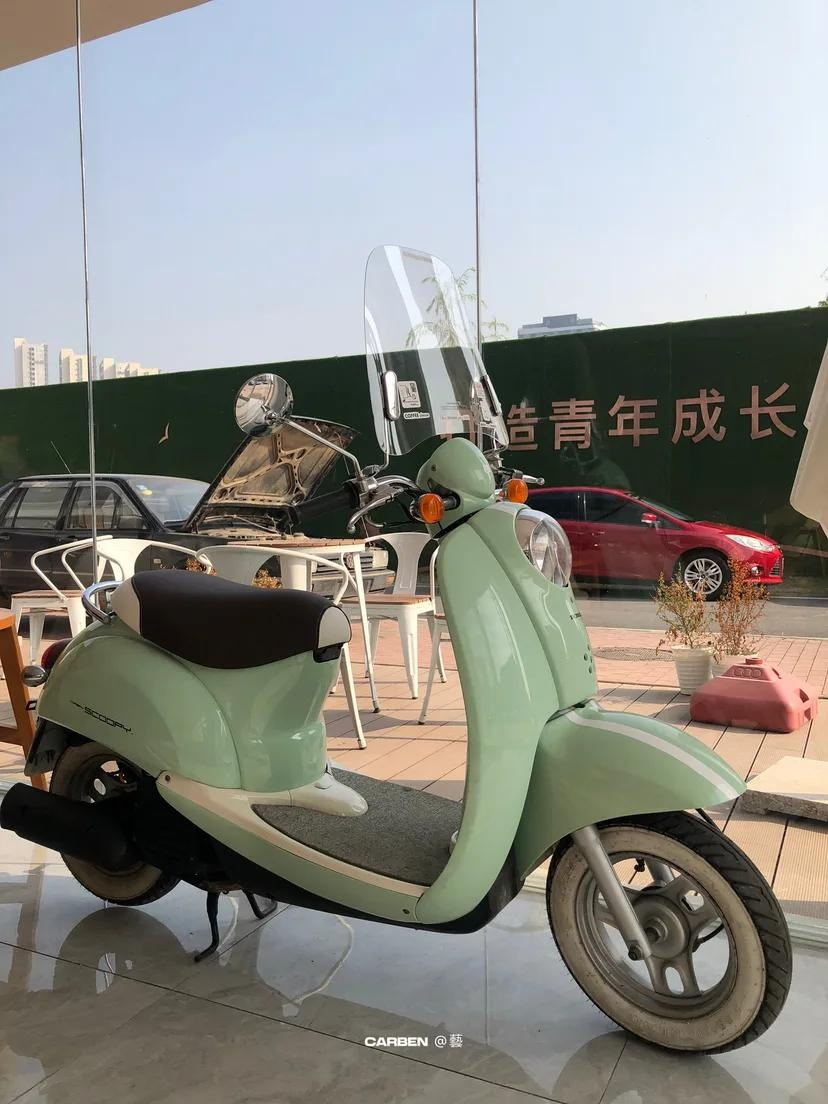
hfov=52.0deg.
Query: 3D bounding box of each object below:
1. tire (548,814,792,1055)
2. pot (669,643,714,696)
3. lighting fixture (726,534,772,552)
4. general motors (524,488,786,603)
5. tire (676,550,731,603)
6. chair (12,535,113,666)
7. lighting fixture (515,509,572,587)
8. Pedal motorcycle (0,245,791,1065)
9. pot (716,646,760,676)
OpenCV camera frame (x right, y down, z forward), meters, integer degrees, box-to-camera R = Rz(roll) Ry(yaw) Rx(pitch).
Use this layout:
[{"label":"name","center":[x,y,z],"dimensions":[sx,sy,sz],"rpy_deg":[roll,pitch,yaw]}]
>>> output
[{"label":"tire","center":[0.354,0.546,1.216],"dimensions":[0.110,0.371,0.341],"rpy_deg":[-7,5,-42]},{"label":"pot","center":[1.118,0.481,3.433],"dimensions":[0.213,0.189,0.189],"rpy_deg":[0,-6,-5]},{"label":"lighting fixture","center":[1.190,-0.030,3.004],"dimensions":[0.132,0.025,0.030],"rpy_deg":[14,-20,25]},{"label":"general motors","center":[0.896,-0.022,3.287],"dimensions":[0.976,0.301,0.454],"rpy_deg":[-1,0,20]},{"label":"tire","center":[1.071,0.088,3.125],"dimensions":[0.161,0.153,0.052],"rpy_deg":[-30,-1,43]},{"label":"chair","center":[-1.595,0.209,3.832],"dimensions":[0.428,0.499,0.391],"rpy_deg":[-4,5,12]},{"label":"lighting fixture","center":[0.175,-0.003,1.306],"dimensions":[0.033,0.111,0.107],"rpy_deg":[-23,-22,37]},{"label":"Pedal motorcycle","center":[-0.154,0.095,1.541],"dimensions":[1.337,1.466,0.851],"rpy_deg":[-3,4,6]},{"label":"pot","center":[1.259,0.423,3.338],"dimensions":[0.152,0.103,0.148],"rpy_deg":[0,-6,0]}]
